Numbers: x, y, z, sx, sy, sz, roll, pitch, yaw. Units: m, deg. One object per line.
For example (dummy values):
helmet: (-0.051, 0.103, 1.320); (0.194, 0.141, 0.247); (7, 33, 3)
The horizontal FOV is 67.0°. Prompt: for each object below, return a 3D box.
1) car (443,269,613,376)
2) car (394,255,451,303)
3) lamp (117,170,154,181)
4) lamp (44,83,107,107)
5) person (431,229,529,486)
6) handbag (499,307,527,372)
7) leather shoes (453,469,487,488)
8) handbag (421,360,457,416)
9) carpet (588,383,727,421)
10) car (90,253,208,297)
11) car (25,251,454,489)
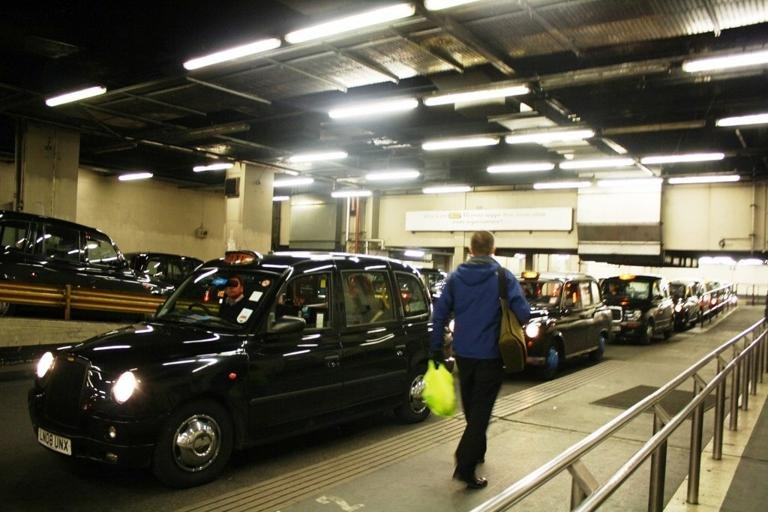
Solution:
car: (3.779, 1.471, 13.553); (2.077, 1.696, 3.909); (-3, -4, 37)
car: (1.273, 0.637, 19.577); (1.986, 1.025, 1.117); (4, 4, 35)
lamp: (-9.967, -3.197, 23.134); (1.069, 0.265, 3.596); (-1, 3, -27)
lamp: (-6.755, -3.615, 13.203); (1.928, 0.333, 0.144); (-2, -2, 24)
person: (1.151, 1.273, 7.110); (1.150, 3.160, 0.566); (0, 3, 1)
handbag: (1.524, 0.983, 6.933); (0.335, 0.777, 0.739); (-9, -4, 8)
leather shoes: (1.125, 2.741, 7.109); (0.539, 0.202, 0.180); (0, 2, 18)
handbag: (0.694, 1.672, 7.370); (0.478, 0.696, 0.167); (1, -2, 1)
carpet: (4.898, 2.573, 10.462); (2.379, 0.152, 1.428); (-2, 4, -43)
car: (-5.634, 0.445, 13.577); (1.767, 0.887, 0.951); (-4, 5, -43)
car: (-1.737, 1.331, 8.638); (5.369, 2.449, 2.841); (4, -5, -42)
